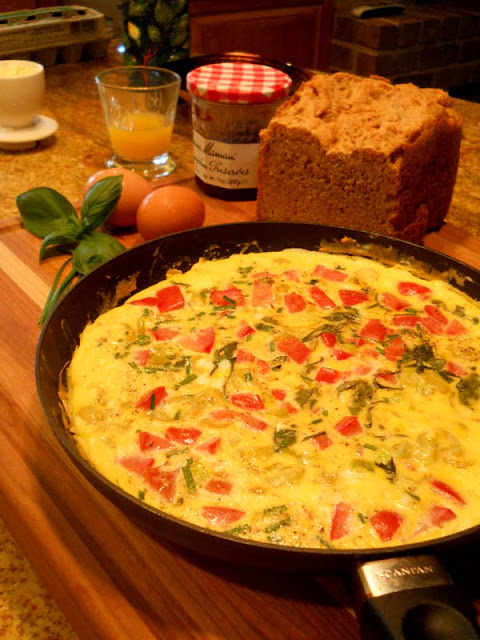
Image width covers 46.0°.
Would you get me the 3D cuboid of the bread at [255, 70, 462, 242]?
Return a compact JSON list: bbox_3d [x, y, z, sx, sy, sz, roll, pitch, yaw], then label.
[{"bbox_3d":[0.267,-0.432,1.576,0.546,0.417,0.519,12,29,22],"label":"bread"}]
